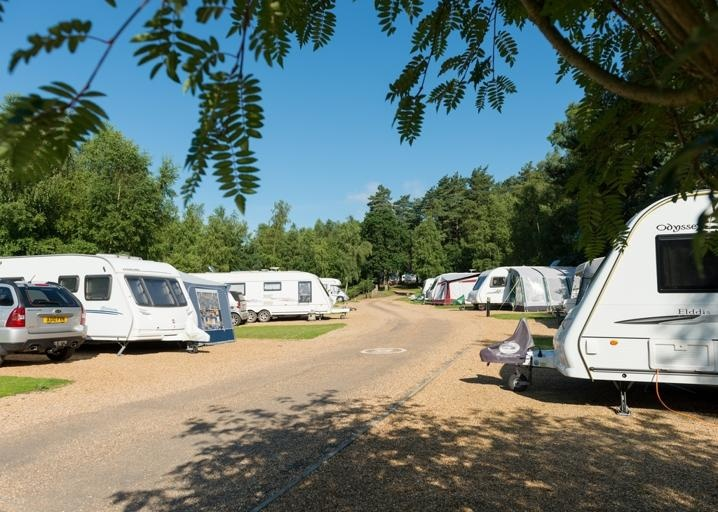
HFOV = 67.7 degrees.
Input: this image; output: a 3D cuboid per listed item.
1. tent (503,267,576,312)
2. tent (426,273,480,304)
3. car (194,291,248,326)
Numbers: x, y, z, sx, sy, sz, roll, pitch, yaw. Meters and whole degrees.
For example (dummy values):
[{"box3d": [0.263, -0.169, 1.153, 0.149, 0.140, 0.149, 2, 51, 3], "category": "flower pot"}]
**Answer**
[{"box3d": [11.549, 1.968, 33.284, 4.971, 2.194, 2.748, -1, 2, -22], "category": "tent"}, {"box3d": [8.197, 2.980, 44.728, 3.291, 1.312, 3.093, -1, 1, -10], "category": "tent"}, {"box3d": [-7.300, 2.640, 27.123, 2.914, 1.401, 1.643, 4, -5, -2], "category": "car"}]
